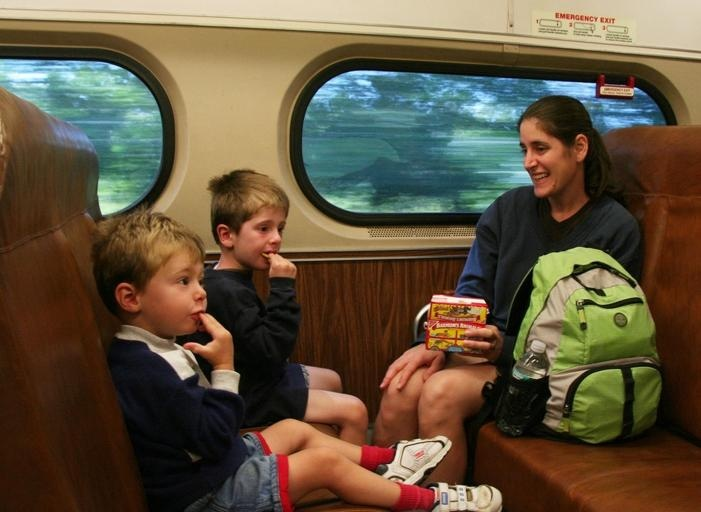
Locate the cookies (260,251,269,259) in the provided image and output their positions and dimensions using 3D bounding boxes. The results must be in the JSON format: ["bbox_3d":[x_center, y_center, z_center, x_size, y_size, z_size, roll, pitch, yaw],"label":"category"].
[{"bbox_3d":[-0.344,-0.003,2.196,0.035,0.017,0.010,24,15,1],"label":"cookies"}]

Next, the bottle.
[{"bbox_3d":[0.662,0.495,2.061,0.180,0.368,0.166,9,12,-2],"label":"bottle"}]

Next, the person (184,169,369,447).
[{"bbox_3d":[-0.299,0.328,2.344,0.719,1.271,0.594,4,11,21],"label":"person"}]
